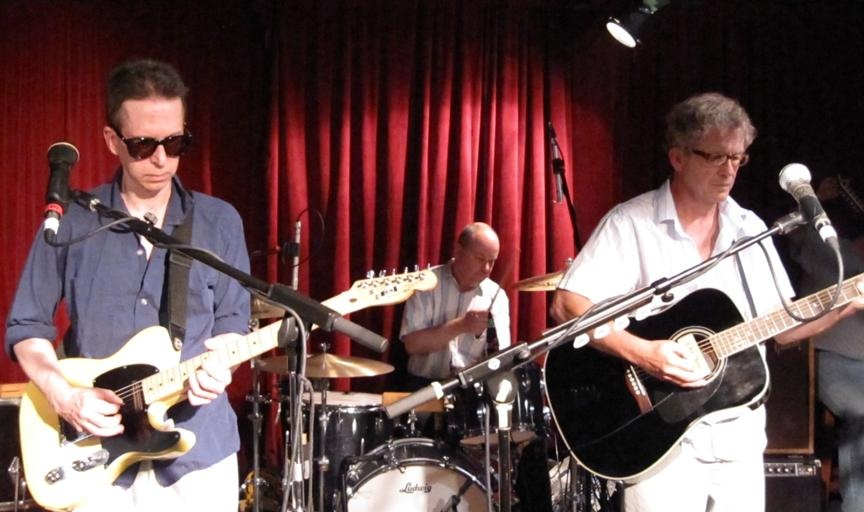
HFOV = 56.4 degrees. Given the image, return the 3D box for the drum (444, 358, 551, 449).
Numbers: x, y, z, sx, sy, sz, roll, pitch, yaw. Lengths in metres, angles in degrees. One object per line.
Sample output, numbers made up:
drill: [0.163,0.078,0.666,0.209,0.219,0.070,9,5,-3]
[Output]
drum: [0.454,1.087,5.797,0.676,0.493,0.609,-4,-18,2]

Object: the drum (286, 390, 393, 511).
drum: [-0.639,1.504,6.185,0.808,0.811,0.811,0,-3,43]

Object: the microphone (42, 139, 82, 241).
microphone: [-2.025,-0.327,4.403,0.183,0.581,0.124,-3,-19,-7]

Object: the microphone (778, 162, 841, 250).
microphone: [2.045,-0.246,4.446,0.184,0.522,0.214,-15,-21,24]

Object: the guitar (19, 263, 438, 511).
guitar: [-1.371,0.809,4.453,1.936,1.004,0.277,-8,-19,6]
